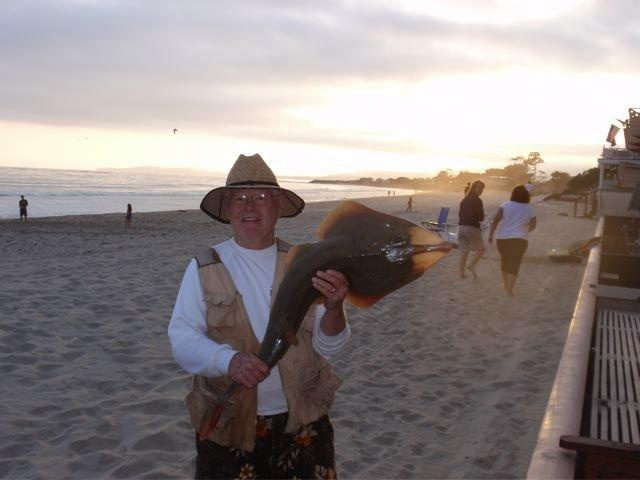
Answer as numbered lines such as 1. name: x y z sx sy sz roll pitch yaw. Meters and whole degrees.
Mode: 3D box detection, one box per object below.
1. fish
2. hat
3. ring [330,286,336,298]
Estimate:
1. fish: -0.300 0.396 3.159 2.077 0.800 0.451 -30 -7 22
2. hat: -0.485 -0.359 3.437 0.792 0.348 0.736 -1 -15 -1
3. ring: 0.076 0.296 2.948 0.034 0.037 0.013 1 14 15
